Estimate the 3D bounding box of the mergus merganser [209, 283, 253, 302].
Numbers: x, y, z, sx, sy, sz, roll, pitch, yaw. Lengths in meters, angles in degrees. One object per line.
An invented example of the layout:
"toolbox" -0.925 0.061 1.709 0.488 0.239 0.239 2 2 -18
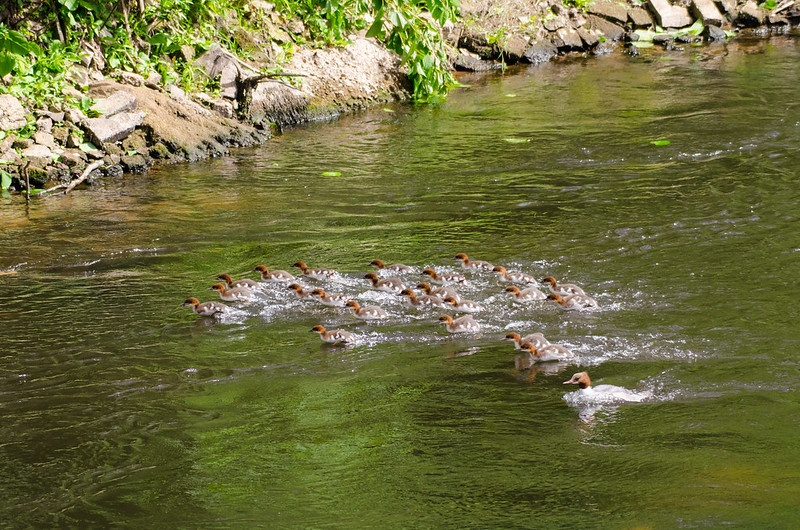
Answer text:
"mergus merganser" -2.674 0.423 15.704 0.738 0.221 0.331 4 18 23
